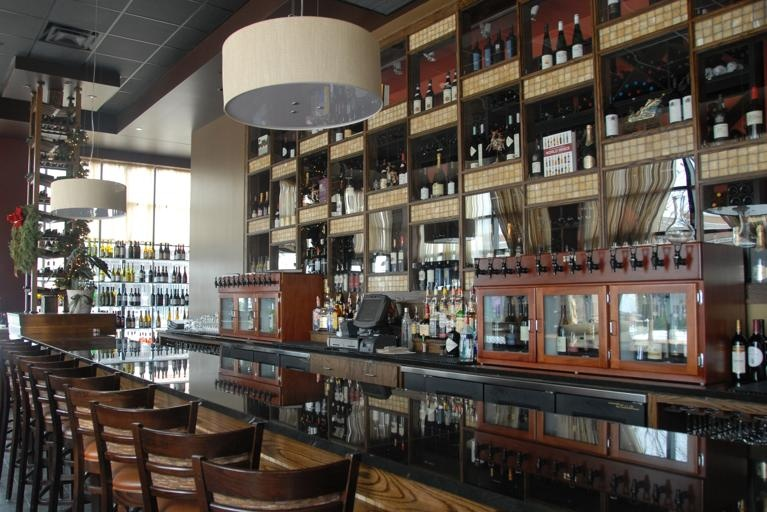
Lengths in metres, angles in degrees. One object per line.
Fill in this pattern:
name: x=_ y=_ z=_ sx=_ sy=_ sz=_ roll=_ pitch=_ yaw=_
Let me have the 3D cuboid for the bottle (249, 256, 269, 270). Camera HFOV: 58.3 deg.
bottle: x=-1.746 y=0.109 z=9.765 sx=0.176 sy=0.173 sz=0.091 roll=-3 pitch=-9 yaw=24

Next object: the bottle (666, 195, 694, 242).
bottle: x=2.415 y=-0.309 z=5.641 sx=0.209 sy=0.433 sz=0.481 roll=-4 pitch=-5 yaw=25

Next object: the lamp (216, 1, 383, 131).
lamp: x=-0.565 y=-1.217 z=4.822 sx=0.832 sy=0.962 sz=0.858 roll=-1 pitch=-7 yaw=-6

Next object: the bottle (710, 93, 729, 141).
bottle: x=2.733 y=-1.124 z=5.616 sx=0.128 sy=0.385 sz=0.047 roll=-3 pitch=-5 yaw=18

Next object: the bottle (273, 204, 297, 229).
bottle: x=-1.323 y=-0.505 z=9.267 sx=0.237 sy=0.440 sz=0.434 roll=0 pitch=1 yaw=-38

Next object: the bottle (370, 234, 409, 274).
bottle: x=0.085 y=-0.017 z=7.757 sx=0.090 sy=0.380 sz=0.385 roll=12 pitch=-14 yaw=-43

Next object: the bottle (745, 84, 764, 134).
bottle: x=2.945 y=-1.156 z=5.486 sx=0.133 sy=0.443 sz=0.098 roll=-4 pitch=-5 yaw=24

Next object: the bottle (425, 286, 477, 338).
bottle: x=0.692 y=0.582 z=6.905 sx=0.150 sy=0.445 sz=0.459 roll=10 pitch=-14 yaw=-35

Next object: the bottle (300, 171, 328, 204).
bottle: x=-0.881 y=-0.871 z=8.844 sx=0.112 sy=0.360 sz=0.357 roll=7 pitch=-22 yaw=-31

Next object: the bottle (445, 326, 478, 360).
bottle: x=0.754 y=0.846 z=6.596 sx=0.086 sy=0.226 sz=0.291 roll=7 pitch=-10 yaw=-31
